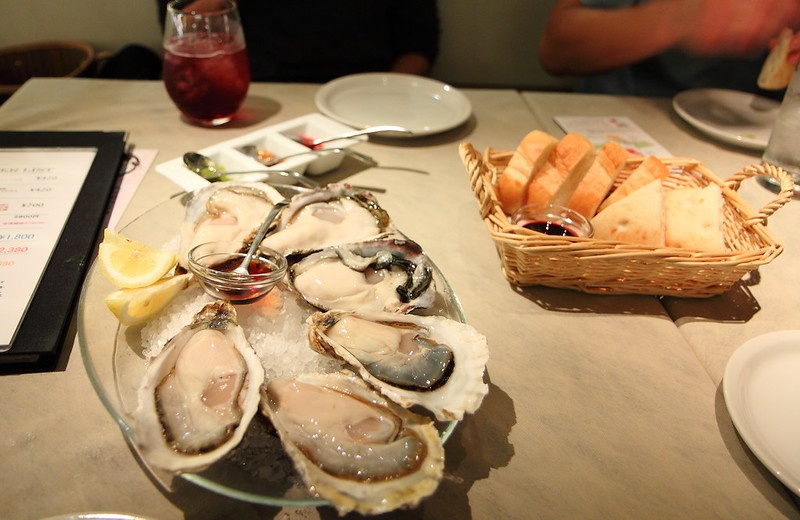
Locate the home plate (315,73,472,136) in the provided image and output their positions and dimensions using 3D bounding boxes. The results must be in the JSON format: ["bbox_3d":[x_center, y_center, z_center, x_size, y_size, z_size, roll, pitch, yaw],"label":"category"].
[{"bbox_3d":[-0.016,-0.534,1.917,0.366,0.039,0.349,16,37,17],"label":"home plate"}]

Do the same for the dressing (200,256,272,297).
[{"bbox_3d":[-0.346,0.032,1.202,0.111,0.040,0.104,12,31,2],"label":"dressing"}]

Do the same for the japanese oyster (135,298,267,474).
[{"bbox_3d":[-0.386,0.236,1.098,0.103,0.247,0.309,-19,47,37],"label":"japanese oyster"}]

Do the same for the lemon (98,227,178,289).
[{"bbox_3d":[-0.565,-0.002,1.172,0.161,0.051,0.117,6,43,22],"label":"lemon"}]

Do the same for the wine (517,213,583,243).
[{"bbox_3d":[0.371,-0.083,1.380,0.101,0.019,0.096,10,25,8],"label":"wine"}]

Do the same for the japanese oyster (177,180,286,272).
[{"bbox_3d":[-0.410,-0.048,1.353,0.195,0.069,0.224,21,51,10],"label":"japanese oyster"}]

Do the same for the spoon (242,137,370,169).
[{"bbox_3d":[-0.260,-0.300,1.579,0.216,0.034,0.150,-14,39,-26],"label":"spoon"}]

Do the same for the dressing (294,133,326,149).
[{"bbox_3d":[-0.263,-0.342,1.638,0.064,0.013,0.066,-1,36,-27],"label":"dressing"}]

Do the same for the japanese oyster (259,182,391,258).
[{"bbox_3d":[-0.157,-0.114,1.319,0.238,0.058,0.177,-20,53,-26],"label":"japanese oyster"}]

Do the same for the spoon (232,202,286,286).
[{"bbox_3d":[-0.306,-0.043,1.263,0.046,0.033,0.217,15,60,7],"label":"spoon"}]

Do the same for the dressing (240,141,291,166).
[{"bbox_3d":[-0.373,-0.285,1.556,0.109,0.018,0.078,34,44,24],"label":"dressing"}]

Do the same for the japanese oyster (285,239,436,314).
[{"bbox_3d":[-0.082,0.037,1.236,0.243,0.081,0.160,6,51,-8],"label":"japanese oyster"}]

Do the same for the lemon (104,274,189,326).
[{"bbox_3d":[-0.517,0.077,1.146,0.075,0.063,0.179,30,27,5],"label":"lemon"}]
